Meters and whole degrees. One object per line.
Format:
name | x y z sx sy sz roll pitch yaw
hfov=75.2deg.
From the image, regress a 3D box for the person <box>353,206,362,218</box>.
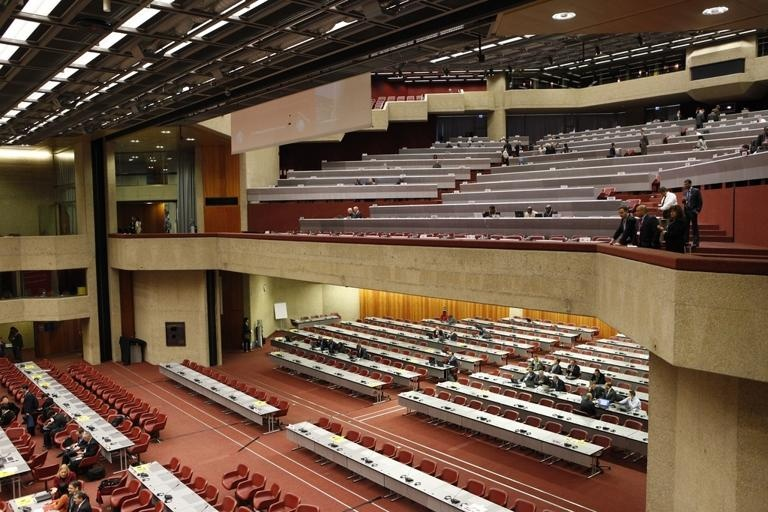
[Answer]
person | -1.219 -1.938 22.350 0.347 0.400 0.920 -2 7 -7
